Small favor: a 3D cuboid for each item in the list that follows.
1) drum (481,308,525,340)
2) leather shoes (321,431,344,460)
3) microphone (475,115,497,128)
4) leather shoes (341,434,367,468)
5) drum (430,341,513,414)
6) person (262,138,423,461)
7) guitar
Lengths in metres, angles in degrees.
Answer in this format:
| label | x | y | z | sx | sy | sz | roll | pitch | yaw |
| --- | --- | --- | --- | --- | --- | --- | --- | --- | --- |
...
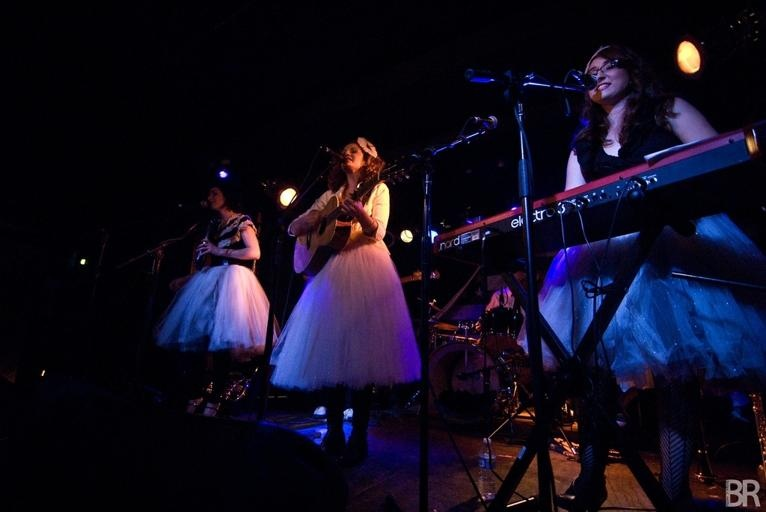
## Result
| label | x | y | z | sx | sy | sz | roll | pitch | yaw |
| --- | --- | --- | --- | --- | --- | --- | --- | --- | --- |
| drum | 1.458 | 0.808 | 6.708 | 0.298 | 0.325 | 0.436 | 10 | -31 | 10 |
| leather shoes | -0.472 | 1.739 | 5.040 | 0.258 | 0.246 | 0.150 | -2 | -21 | 12 |
| microphone | 0.778 | -1.024 | 4.147 | 0.116 | 0.090 | 0.045 | 28 | -31 | 40 |
| leather shoes | -0.253 | 1.789 | 5.028 | 0.246 | 0.279 | 0.100 | 18 | -25 | -36 |
| drum | 1.092 | 1.551 | 7.008 | 1.025 | 0.950 | 0.579 | -14 | -26 | 36 |
| person | -0.329 | 0.286 | 5.222 | 1.352 | 3.126 | 0.821 | 1 | -20 | 4 |
| guitar | -0.430 | -0.325 | 5.262 | 0.209 | 0.621 | 1.445 | 14 | -46 | -39 |
